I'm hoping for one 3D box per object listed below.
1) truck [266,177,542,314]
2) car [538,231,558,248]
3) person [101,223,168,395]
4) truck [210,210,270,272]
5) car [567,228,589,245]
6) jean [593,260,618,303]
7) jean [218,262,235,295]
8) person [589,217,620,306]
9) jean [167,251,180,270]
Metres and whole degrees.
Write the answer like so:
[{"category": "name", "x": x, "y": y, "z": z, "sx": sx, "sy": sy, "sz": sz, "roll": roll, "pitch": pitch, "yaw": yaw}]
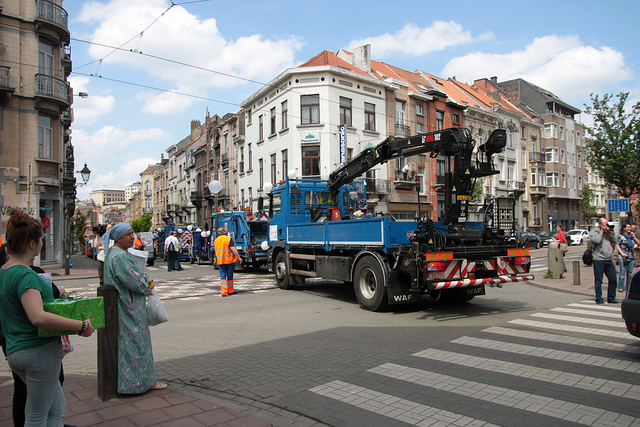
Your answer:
[{"category": "truck", "x": 1.595, "y": 0.663, "z": 17.371, "sx": 3.646, "sy": 3.472, "sz": 8.256, "roll": 3, "pitch": -3, "yaw": -36}, {"category": "car", "x": 14.908, "y": 1.727, "z": 39.343, "sx": 1.310, "sy": 1.086, "sz": 2.281, "roll": 0, "pitch": -8, "yaw": 0}, {"category": "person", "x": -3.232, "y": 1.649, "z": 10.353, "sx": 0.862, "sy": 2.901, "sz": 0.737, "roll": -5, "pitch": 12, "yaw": -25}, {"category": "truck", "x": -3.402, "y": 1.182, "z": 25.528, "sx": 2.245, "sy": 2.267, "sz": 3.279, "roll": 1, "pitch": 0, "yaw": -32}, {"category": "car", "x": 21.000, "y": 1.910, "z": 48.062, "sx": 2.121, "sy": 0.915, "sz": 1.159, "roll": 5, "pitch": -8, "yaw": -39}, {"category": "jean", "x": 7.394, "y": 1.759, "z": 15.501, "sx": 0.559, "sy": 1.252, "sz": 0.723, "roll": 7, "pitch": 13, "yaw": 34}, {"category": "jean", "x": -2.844, "y": 1.974, "z": 18.263, "sx": 0.412, "sy": 0.993, "sz": 0.352, "roll": -3, "pitch": 11, "yaw": -12}, {"category": "person", "x": 7.446, "y": 1.250, "z": 15.550, "sx": 0.772, "sy": 2.359, "sz": 1.013, "roll": 7, "pitch": 13, "yaw": 33}, {"category": "jean", "x": -6.649, "y": 2.114, "z": 27.092, "sx": 0.537, "sy": 0.910, "sz": 0.564, "roll": -6, "pitch": 12, "yaw": -28}]
